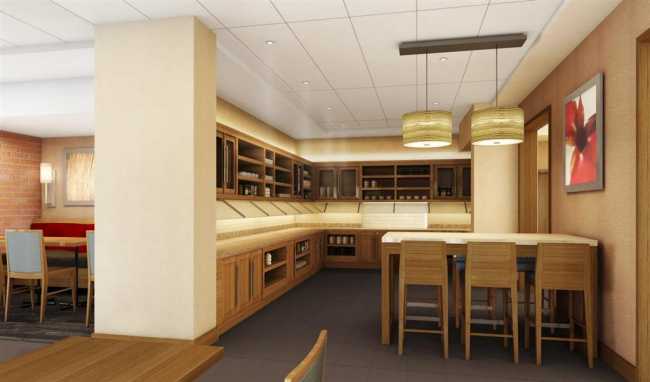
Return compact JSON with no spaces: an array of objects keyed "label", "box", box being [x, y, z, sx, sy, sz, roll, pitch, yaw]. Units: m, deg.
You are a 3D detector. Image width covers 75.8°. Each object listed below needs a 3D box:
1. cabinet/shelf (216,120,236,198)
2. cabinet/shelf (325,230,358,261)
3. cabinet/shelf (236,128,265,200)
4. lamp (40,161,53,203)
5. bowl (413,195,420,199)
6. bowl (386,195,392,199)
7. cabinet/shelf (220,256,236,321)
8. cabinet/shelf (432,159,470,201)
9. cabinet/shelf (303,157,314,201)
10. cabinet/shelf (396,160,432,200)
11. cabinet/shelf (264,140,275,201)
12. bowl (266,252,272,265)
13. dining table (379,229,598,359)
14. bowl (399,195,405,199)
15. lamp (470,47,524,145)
[{"label":"cabinet/shelf","box":[-1.697,-0.524,7.306,0.206,1.191,0.684,-3,-3,5]},{"label":"cabinet/shelf","box":[0.437,1.375,10.442,0.964,0.729,0.291,-1,-7,8]},{"label":"cabinet/shelf","box":[-1.502,-0.422,8.208,0.448,1.041,0.985,-3,-3,6]},{"label":"lamp","box":[-5.996,-0.172,9.046,0.240,0.879,0.251,-2,-3,-10]},{"label":"bowl","box":[2.304,0.162,10.576,0.151,0.082,0.076,-1,-4,22]},{"label":"bowl","box":[1.642,0.159,10.739,0.124,0.072,0.111,0,-3,1]},{"label":"cabinet/shelf","box":[-1.434,1.465,6.305,0.105,0.892,0.370,-3,-3,12]},{"label":"cabinet/shelf","box":[3.132,-0.277,10.339,1.234,0.915,0.439,-2,-5,20]},{"label":"cabinet/shelf","box":[-0.434,-0.280,10.770,0.230,1.001,0.579,-3,-3,7]},{"label":"cabinet/shelf","box":[2.274,-0.286,10.611,1.242,0.977,0.326,0,-5,4]},{"label":"cabinet/shelf","box":[-1.172,-0.380,8.889,0.206,1.029,0.471,-2,-3,-7]},{"label":"bowl","box":[-1.037,1.266,7.704,0.114,0.214,0.210,-2,-3,-7]},{"label":"dining table","box":[2.064,1.641,6.434,3.467,1.626,1.662,0,-5,8]},{"label":"bowl","box":[1.959,0.161,10.665,0.179,0.133,0.086,-1,-6,10]},{"label":"lamp","box":[2.300,-0.994,5.659,0.702,1.285,0.643,1,-2,12]}]
